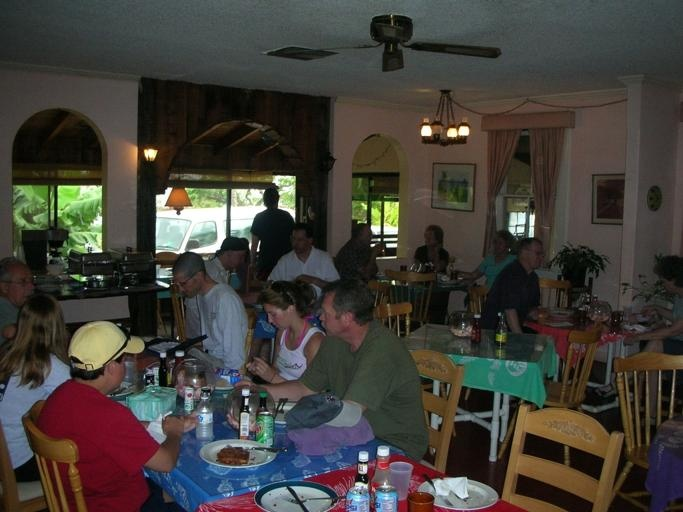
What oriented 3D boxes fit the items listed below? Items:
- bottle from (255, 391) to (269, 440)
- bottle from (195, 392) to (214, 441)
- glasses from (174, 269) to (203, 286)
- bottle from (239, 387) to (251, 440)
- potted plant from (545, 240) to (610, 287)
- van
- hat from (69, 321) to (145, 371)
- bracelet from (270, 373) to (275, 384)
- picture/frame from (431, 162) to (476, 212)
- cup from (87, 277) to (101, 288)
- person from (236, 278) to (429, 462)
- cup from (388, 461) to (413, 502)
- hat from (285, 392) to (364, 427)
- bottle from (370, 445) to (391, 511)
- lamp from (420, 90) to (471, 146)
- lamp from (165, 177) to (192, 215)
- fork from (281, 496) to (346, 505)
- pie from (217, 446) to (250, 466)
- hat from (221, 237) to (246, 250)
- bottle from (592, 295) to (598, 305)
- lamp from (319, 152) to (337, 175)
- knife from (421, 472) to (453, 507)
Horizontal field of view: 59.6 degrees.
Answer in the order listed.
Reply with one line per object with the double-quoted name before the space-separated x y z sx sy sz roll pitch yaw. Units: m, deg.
"bottle" -0.399 0.815 3.049 0.077 0.253 0.133 0 4 -10
"bottle" -0.723 0.817 3.134 0.092 0.236 0.199 -1 4 -12
"glasses" -1.127 0.167 4.392 0.211 0.121 0.081 0 4 -15
"bottle" -0.506 0.802 3.124 0.060 0.255 0.173 0 4 -10
"potted plant" 3.042 0.091 7.580 0.660 0.428 0.529 2 5 22
"van" -2.665 -0.351 12.167 1.943 1.003 1.284 0 2 -38
"hat" -1.141 0.431 2.900 0.200 0.156 0.286 14 20 41
"bracelet" -0.439 0.782 3.800 0.045 0.034 0.046 0 -4 -7
"picture/frame" 1.825 -1.105 9.498 0.033 0.766 0.757 -4 11 -40
"cup" -2.684 0.280 6.476 0.122 0.120 0.222 3 0 -26
"person" -0.130 0.592 3.460 1.166 1.013 0.836 2 2 -16
"cup" 0.258 0.971 2.597 0.138 0.148 0.139 0 -2 0
"hat" -0.100 0.803 3.051 0.313 0.086 0.192 -7 10 -2
"bottle" 0.171 0.943 2.577 0.079 0.260 0.221 1 4 3
"lamp" 1.415 -1.866 8.068 0.620 0.800 0.459 4 15 24
"lamp" -3.023 -1.098 11.004 0.556 0.681 0.557 6 14 20
"fork" -0.134 1.041 2.555 0.246 0.022 0.041 0 3 2
"pie" -0.512 0.948 2.850 0.155 0.058 0.150 -1 3 -33
"hat" -1.026 -0.110 5.618 0.188 0.123 0.146 -1 -1 21
"bottle" 2.547 0.434 5.973 0.061 0.081 0.084 -1 -2 22
"lamp" -0.203 -1.370 8.794 0.222 0.329 0.226 1 4 7
"knife" 0.430 1.017 2.601 0.053 0.029 0.197 -14 17 -14
